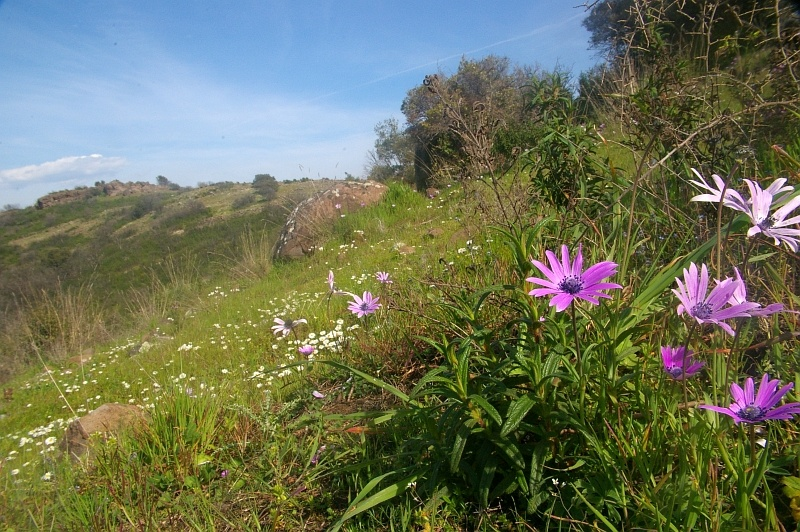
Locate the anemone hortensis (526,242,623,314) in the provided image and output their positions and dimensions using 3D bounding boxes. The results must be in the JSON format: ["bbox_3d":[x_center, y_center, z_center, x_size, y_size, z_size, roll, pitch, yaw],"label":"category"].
[{"bbox_3d":[0.958,0.030,2.359,0.428,0.130,0.465,19,-5,-18],"label":"anemone hortensis"}]
